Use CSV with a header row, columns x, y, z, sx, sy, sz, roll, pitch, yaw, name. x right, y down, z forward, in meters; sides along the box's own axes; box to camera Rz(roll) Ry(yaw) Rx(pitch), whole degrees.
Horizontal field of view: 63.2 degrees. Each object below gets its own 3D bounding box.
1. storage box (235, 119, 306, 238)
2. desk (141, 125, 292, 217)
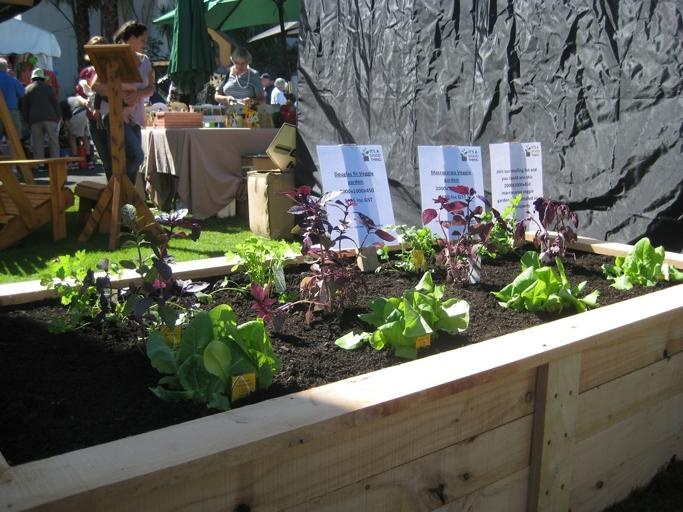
x,y,z,sx,sy,sz,roll,pitch,yaw,name
-0.685,-0.736,5.221,0.694,1.511,1.065,-2,13,-17,storage box
-1.516,-1.085,6.300,1.171,0.629,1.189,-15,26,-32,desk
